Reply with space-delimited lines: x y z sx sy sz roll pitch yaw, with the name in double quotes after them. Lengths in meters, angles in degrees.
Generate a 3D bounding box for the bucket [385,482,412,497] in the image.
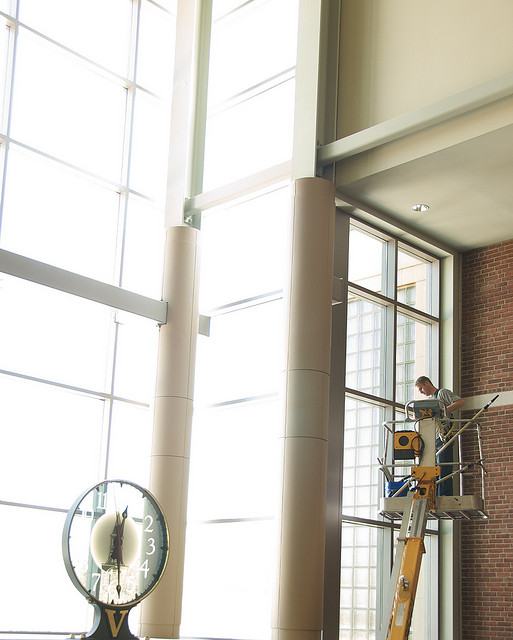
1.378 1.663 7.517 0.192 0.167 0.214 -1 -11 10 "bucket"

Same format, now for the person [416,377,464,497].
1.855 1.252 7.667 0.430 1.302 0.329 -2 28 32 "person"

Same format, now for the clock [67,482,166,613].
-1.013 1.696 5.693 0.294 0.933 1.050 -7 -17 24 "clock"
